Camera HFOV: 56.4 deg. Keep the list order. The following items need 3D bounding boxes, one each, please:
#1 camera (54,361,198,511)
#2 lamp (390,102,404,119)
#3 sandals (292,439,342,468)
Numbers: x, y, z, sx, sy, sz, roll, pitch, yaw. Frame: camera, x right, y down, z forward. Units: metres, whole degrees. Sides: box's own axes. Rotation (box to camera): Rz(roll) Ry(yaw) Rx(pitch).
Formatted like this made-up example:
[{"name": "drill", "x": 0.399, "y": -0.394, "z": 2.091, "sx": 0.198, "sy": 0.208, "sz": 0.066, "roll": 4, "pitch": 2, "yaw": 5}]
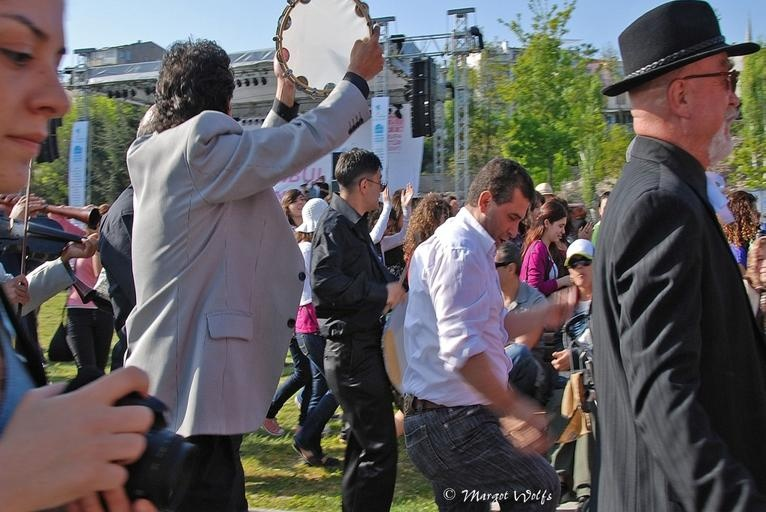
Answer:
[{"name": "camera", "x": -0.578, "y": 0.438, "z": 1.632, "sx": 0.267, "sy": 0.320, "sz": 0.259, "roll": -1, "pitch": 9, "yaw": -17}, {"name": "lamp", "x": 0.403, "y": -4.409, "z": 21.754, "sx": 0.362, "sy": 0.520, "sz": 0.567, "roll": 0, "pitch": 0, "yaw": 0}, {"name": "sandals", "x": -0.538, "y": 1.710, "z": 6.046, "sx": 0.450, "sy": 0.138, "sz": 0.179, "roll": 8, "pitch": 5, "yaw": 29}]
